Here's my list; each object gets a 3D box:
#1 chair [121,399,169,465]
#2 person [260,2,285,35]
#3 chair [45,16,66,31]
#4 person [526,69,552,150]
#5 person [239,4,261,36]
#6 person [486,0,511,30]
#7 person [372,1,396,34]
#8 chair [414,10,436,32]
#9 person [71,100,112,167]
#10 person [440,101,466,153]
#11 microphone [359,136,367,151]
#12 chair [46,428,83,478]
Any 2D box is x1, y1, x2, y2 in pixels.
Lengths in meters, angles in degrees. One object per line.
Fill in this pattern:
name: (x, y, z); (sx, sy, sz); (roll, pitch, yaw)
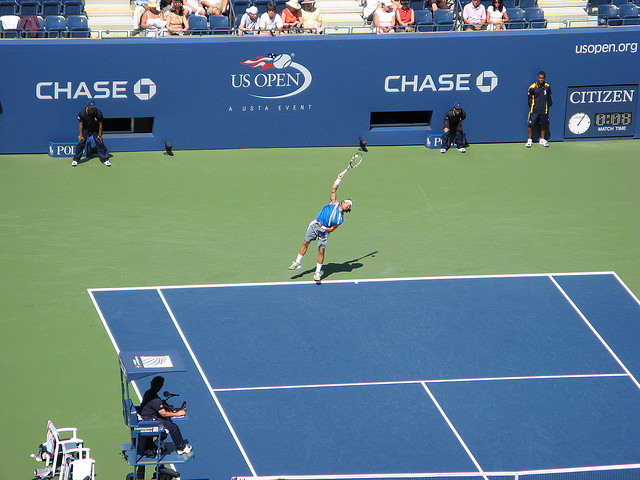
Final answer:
chair: (-3.278, 3.485, 20.031); (0.916, 1.094, 1.531); (-3, 11, -14)
person: (-1.416, -6.479, 30.757); (0.838, 1.249, 0.867); (-3, 17, -8)
chair: (-7.610, -6.284, 30.224); (0.527, 0.568, 0.516); (2, 31, -6)
person: (6.499, -3.905, 31.212); (0.699, 2.353, 0.946); (2, 17, 13)
person: (-2.037, -6.460, 30.681); (0.633, 0.771, 2.120); (-3, 17, -3)
person: (5.296, -6.732, 31.210); (0.724, 0.838, 1.064); (1, 17, 9)
person: (1.913, -6.633, 31.011); (0.630, 0.850, 0.894); (-1, 17, 3)
chair: (3.087, -6.591, 31.211); (0.609, 0.851, 0.676); (1, 6, 1)
person: (-6.508, -3.046, 29.675); (1.320, 2.359, 1.166); (-3, 22, -12)
person: (3.932, -3.314, 30.891); (0.820, 1.497, 0.738); (-6, 17, -14)
microphone: (1.170, -2.709, 28.879); (0.146, 0.526, 0.198); (-2, 7, 2)
chair: (-4.856, 4.081, 20.108); (0.719, 1.296, 0.758); (2, -1, -3)
